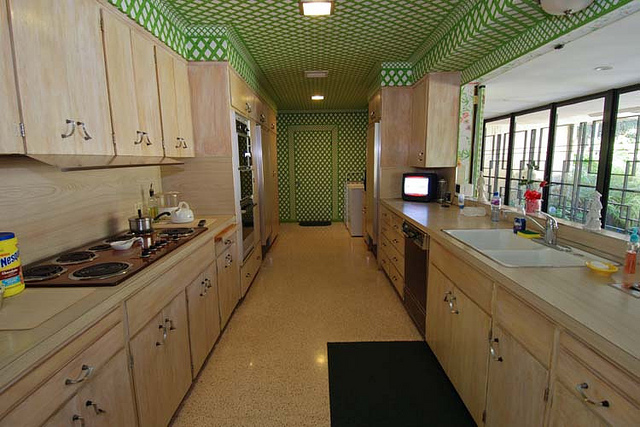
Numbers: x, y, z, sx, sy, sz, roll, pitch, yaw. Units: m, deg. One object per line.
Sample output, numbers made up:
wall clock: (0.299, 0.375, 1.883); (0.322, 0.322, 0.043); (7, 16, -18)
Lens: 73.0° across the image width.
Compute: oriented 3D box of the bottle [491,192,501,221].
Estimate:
bottle: (1.622, -0.058, 3.975); (0.074, 0.236, 0.129); (4, 12, 10)

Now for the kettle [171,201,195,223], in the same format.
kettle: (-1.248, -0.015, 3.961); (0.157, 0.176, 0.199); (0, 0, -7)

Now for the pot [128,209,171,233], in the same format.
pot: (-1.398, 0.056, 3.529); (0.306, 0.162, 0.162); (0, 4, -25)

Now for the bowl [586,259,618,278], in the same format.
bowl: (1.783, 0.350, 2.744); (0.167, 0.071, 0.117); (10, 13, 35)

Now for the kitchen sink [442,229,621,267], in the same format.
kitchen sink: (1.554, 0.204, 3.317); (0.903, 0.268, 0.867); (0, 8, 0)

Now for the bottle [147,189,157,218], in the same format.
bottle: (-1.524, -0.096, 3.931); (0.082, 0.241, 0.354); (-3, 12, -22)
